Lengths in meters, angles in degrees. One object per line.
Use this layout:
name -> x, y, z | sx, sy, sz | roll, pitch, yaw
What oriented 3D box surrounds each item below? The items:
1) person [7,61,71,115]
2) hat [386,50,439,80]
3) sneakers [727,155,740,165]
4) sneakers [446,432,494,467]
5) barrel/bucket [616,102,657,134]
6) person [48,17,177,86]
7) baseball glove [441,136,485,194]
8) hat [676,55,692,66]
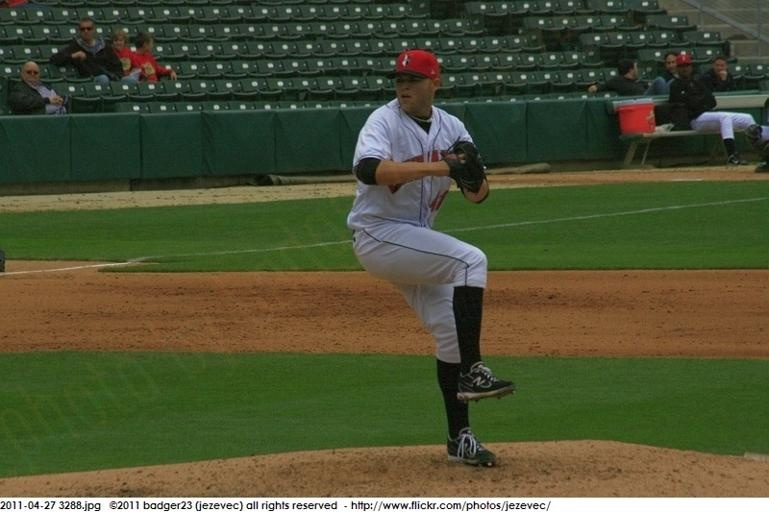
person -> -6.011, -2.898, 21.568 | 0.881, 0.952, 0.502 | -12, 16, -25
hat -> 0.344, -1.863, 12.067 | 0.409, 0.174, 0.289 | -14, 22, -39
sneakers -> 6.275, -1.762, 22.633 | 0.182, 0.226, 0.311 | -3, 14, 8
sneakers -> 0.783, 1.817, 11.656 | 0.516, 0.229, 0.219 | 3, 4, 31
barrel/bucket -> 4.623, -2.563, 23.295 | 0.696, 0.483, 0.636 | -2, 1, 0
person -> -5.094, -3.798, 23.385 | 1.963, 0.928, 1.431 | 6, 17, 30
baseball glove -> 0.803, -0.867, 11.943 | 0.205, 0.457, 0.355 | -13, 27, 17
hat -> 5.363, -3.562, 22.651 | 0.223, 0.146, 0.294 | -5, 7, 11
